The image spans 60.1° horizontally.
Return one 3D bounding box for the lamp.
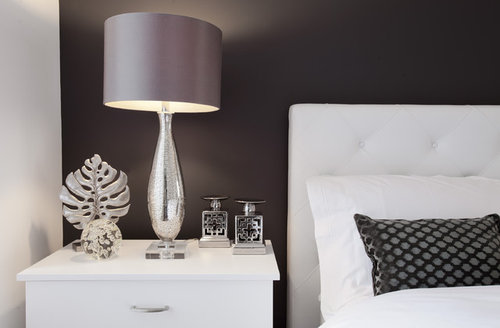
[{"bbox_3d":[-0.456,-0.123,2.216,0.591,1.200,0.321,2,2,-4],"label":"lamp"}]
